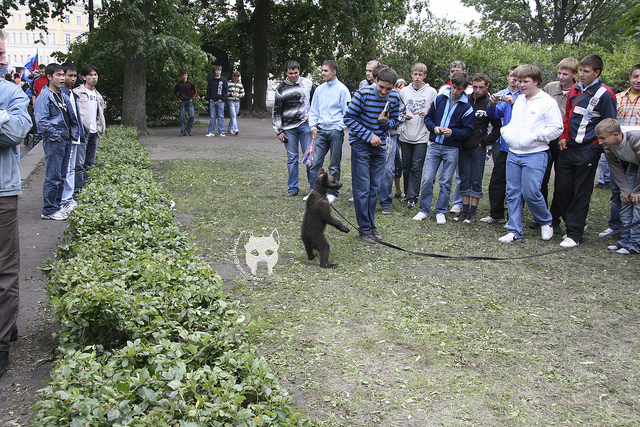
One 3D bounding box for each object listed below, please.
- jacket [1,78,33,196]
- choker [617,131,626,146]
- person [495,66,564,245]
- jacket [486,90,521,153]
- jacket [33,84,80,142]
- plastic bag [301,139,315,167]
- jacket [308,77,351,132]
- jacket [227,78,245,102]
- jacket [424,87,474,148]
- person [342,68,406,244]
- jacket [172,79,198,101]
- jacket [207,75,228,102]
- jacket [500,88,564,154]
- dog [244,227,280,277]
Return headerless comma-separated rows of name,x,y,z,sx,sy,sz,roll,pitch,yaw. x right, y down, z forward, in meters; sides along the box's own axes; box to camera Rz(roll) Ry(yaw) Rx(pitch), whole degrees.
jacket,-3.120,-0.766,5.078,0.288,1.159,0.427,-3,12,-28
choker,4.584,-1.117,7.510,0.084,0.207,0.056,2,10,-8
person,3.363,-0.935,7.956,0.917,2.778,0.921,5,10,12
jacket,3.198,-1.618,8.865,0.907,1.020,0.328,-3,11,-21
jacket,-4.488,-1.648,8.349,0.516,0.893,0.605,3,10,1
plastic bag,-0.217,-1.137,9.463,0.197,0.522,0.315,1,10,-13
jacket,0.209,-2.005,9.299,0.856,0.958,0.379,10,13,38
jacket,-3.385,-4.745,19.429,0.505,0.883,0.756,5,10,12
jacket,2.290,-1.637,8.657,1.051,0.947,0.632,18,8,24
person,0.755,-0.873,7.678,0.842,2.616,0.682,3,10,2
jacket,-5.030,-4.506,18.352,0.768,0.775,0.611,1,10,-11
jacket,-3.856,-4.686,18.944,0.781,0.949,0.670,-6,13,-40
jacket,3.379,-1.459,7.978,0.658,0.981,1.132,-5,12,-9
dog,-0.761,0.523,6.453,0.399,0.577,0.363,2,10,-8
